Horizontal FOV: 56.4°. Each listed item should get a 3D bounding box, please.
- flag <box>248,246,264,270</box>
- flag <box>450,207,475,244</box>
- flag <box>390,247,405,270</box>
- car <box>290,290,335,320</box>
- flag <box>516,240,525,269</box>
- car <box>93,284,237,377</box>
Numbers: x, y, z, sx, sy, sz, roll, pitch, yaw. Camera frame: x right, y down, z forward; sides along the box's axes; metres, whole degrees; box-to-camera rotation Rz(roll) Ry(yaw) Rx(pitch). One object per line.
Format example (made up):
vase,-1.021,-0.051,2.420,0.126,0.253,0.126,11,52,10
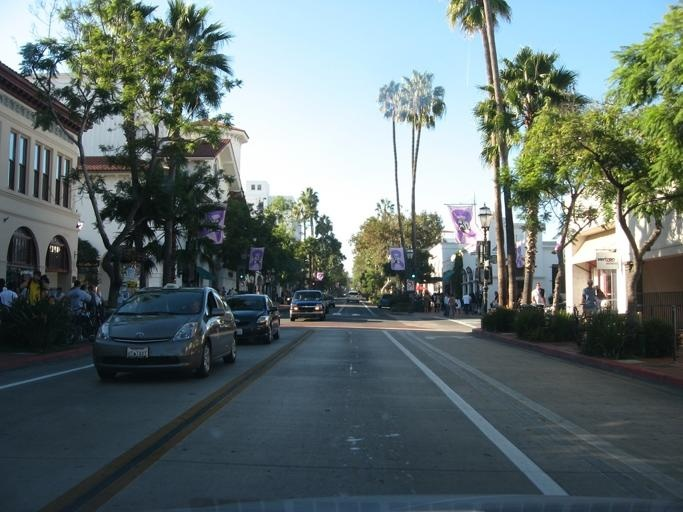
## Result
flag,-7.452,0.195,54.688,1.753,2.696,0.171,1,-10,-1
flag,8.120,-2.177,42.676,1.607,2.580,2.865,0,-1,9
flag,5.320,0.323,60.294,1.724,2.930,0.117,-1,2,-5
car,-2.011,3.217,40.888,1.885,1.926,3.326,0,-2,10
flag,14.186,-0.170,50.484,0.547,1.882,3.117,0,-2,12
car,-3.571,1.578,13.579,1.488,1.254,2.762,-2,-11,6
